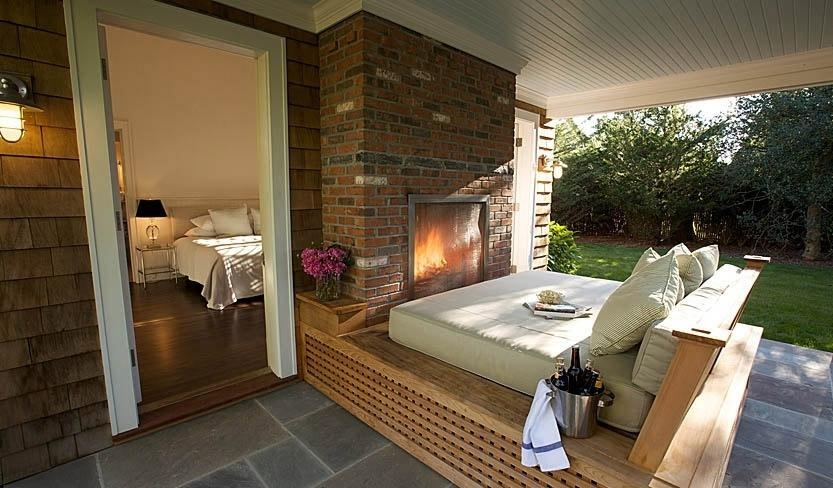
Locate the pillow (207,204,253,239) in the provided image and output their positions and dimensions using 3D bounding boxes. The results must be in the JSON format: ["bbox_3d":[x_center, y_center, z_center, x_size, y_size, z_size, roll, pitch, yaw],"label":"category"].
[{"bbox_3d":[-3.296,-0.380,8.269,0.352,0.608,0.667,2,10,42],"label":"pillow"}]

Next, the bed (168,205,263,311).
[{"bbox_3d":[-3.301,0.238,7.666,2.119,0.936,1.574,15,18,42],"label":"bed"}]

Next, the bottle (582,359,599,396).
[{"bbox_3d":[1.435,1.065,3.736,0.135,0.258,0.126,0,7,0],"label":"bottle"}]

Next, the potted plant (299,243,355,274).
[{"bbox_3d":[-1.025,0.191,5.127,0.448,0.365,0.447,-20,19,-22],"label":"potted plant"}]

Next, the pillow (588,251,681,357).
[{"bbox_3d":[2.149,0.488,4.368,0.730,0.516,1.556,-3,15,33],"label":"pillow"}]

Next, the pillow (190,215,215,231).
[{"bbox_3d":[-3.778,-0.392,8.155,0.325,0.094,0.296,-2,43,-30],"label":"pillow"}]

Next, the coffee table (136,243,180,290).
[{"bbox_3d":[-4.576,0.375,8.107,0.567,0.550,0.441,-7,6,-40],"label":"coffee table"}]

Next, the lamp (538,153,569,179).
[{"bbox_3d":[2.335,-1.348,7.938,0.333,0.370,0.580,4,7,32],"label":"lamp"}]

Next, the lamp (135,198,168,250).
[{"bbox_3d":[-4.444,-0.350,7.769,0.442,0.801,0.634,-3,8,-27],"label":"lamp"}]

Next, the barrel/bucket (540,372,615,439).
[{"bbox_3d":[1.353,1.369,3.889,0.535,0.356,0.333,2,6,21],"label":"barrel/bucket"}]

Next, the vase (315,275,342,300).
[{"bbox_3d":[-0.948,0.455,5.168,0.262,0.265,0.255,5,7,21],"label":"vase"}]
